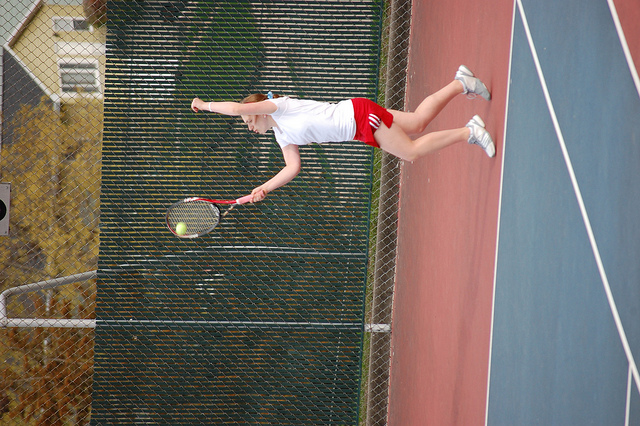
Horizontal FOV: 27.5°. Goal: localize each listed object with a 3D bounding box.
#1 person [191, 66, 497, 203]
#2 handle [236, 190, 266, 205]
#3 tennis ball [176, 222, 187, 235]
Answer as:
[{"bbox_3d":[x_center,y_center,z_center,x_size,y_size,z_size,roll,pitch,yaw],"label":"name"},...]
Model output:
[{"bbox_3d":[0.264,-0.706,10.901,2.273,0.712,0.624,-5,66,-7],"label":"person"},{"bbox_3d":[-0.595,-0.128,11.396,0.210,0.048,0.064,-26,95,-23],"label":"handle"},{"bbox_3d":[-1.166,0.135,10.961,0.084,0.087,0.103,1,85,25],"label":"tennis ball"}]
